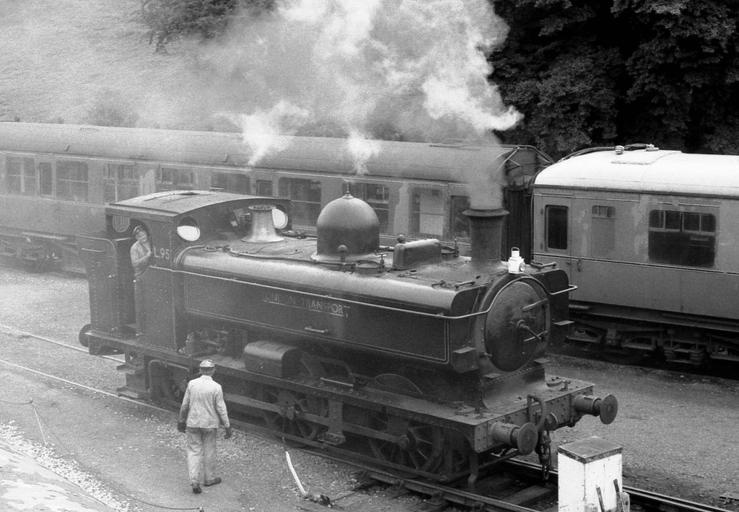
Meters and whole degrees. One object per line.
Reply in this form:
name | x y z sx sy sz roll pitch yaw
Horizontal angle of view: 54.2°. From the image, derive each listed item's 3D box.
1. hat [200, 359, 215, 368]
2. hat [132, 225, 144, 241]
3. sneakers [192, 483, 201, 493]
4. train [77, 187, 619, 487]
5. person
hat | -2.563 1.680 11.415 0.209 0.059 0.213 2 15 13
hat | -4.313 -0.454 13.551 0.302 0.275 0.235 -3 12 8
sneakers | -2.577 3.467 10.847 0.069 0.075 0.206 -4 13 -25
train | -0.308 0.923 13.219 10.571 5.006 3.920 12 20 38
person | -2.518 2.549 11.004 0.634 1.879 0.530 -10 16 -37
